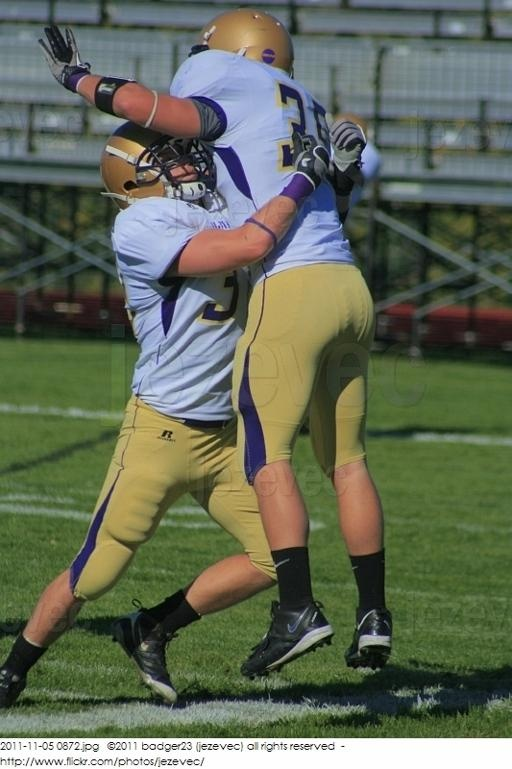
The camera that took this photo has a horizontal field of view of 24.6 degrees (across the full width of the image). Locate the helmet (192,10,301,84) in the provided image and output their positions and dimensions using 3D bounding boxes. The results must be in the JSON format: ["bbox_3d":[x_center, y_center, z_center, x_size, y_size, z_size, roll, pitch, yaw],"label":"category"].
[{"bbox_3d":[-0.011,-0.777,2.703,0.190,0.148,0.149,40,40,24],"label":"helmet"}]

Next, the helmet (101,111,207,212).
[{"bbox_3d":[-0.237,-0.486,2.615,0.242,0.168,0.182,-5,7,28],"label":"helmet"}]

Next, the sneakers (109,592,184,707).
[{"bbox_3d":[-0.252,0.614,2.761,0.142,0.281,0.091,-39,-21,5],"label":"sneakers"}]

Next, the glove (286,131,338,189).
[{"bbox_3d":[0.117,-0.477,2.480,0.080,0.123,0.162,3,7,1],"label":"glove"}]

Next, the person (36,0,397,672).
[{"bbox_3d":[-0.011,-0.091,2.585,0.754,1.491,0.447,5,7,16],"label":"person"}]

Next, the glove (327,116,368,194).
[{"bbox_3d":[0.206,-0.512,2.630,0.074,0.146,0.102,2,0,-25],"label":"glove"}]
